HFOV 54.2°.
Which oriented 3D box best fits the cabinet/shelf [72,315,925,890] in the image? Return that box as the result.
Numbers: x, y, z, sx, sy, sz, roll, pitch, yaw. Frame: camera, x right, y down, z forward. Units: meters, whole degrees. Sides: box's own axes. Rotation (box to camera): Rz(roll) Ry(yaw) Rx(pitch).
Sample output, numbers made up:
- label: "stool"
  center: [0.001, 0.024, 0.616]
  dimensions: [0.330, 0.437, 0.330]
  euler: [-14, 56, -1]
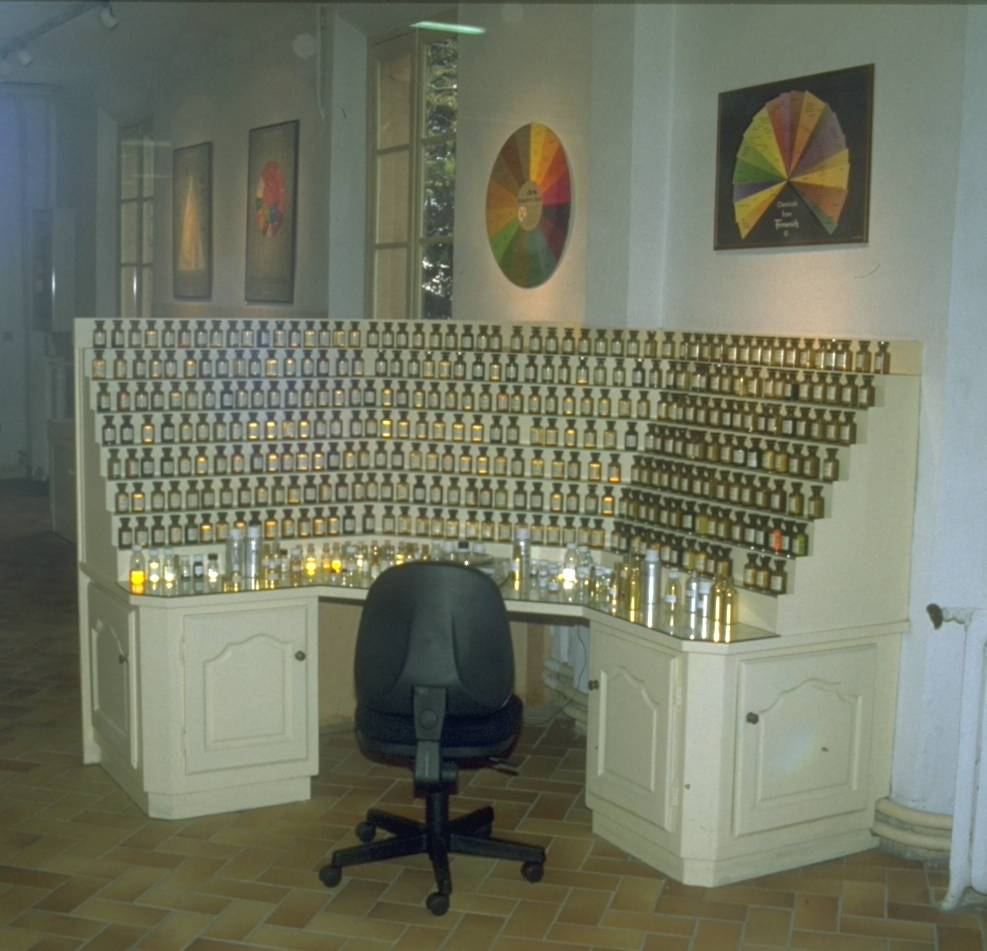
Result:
- label: "cabinet/shelf"
  center: [-0.065, 0.282, 3.657]
  dimensions: [2.449, 2.017, 2.090]
  euler: [-1, 7, -23]

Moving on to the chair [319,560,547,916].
- label: "chair"
  center: [-0.176, 0.727, 3.294]
  dimensions: [0.854, 1.479, 0.876]
  euler: [1, 0, -2]

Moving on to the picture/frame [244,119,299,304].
- label: "picture/frame"
  center: [-1.739, -2.051, 7.589]
  dimensions: [0.107, 1.430, 0.967]
  euler: [-2, 6, -32]
